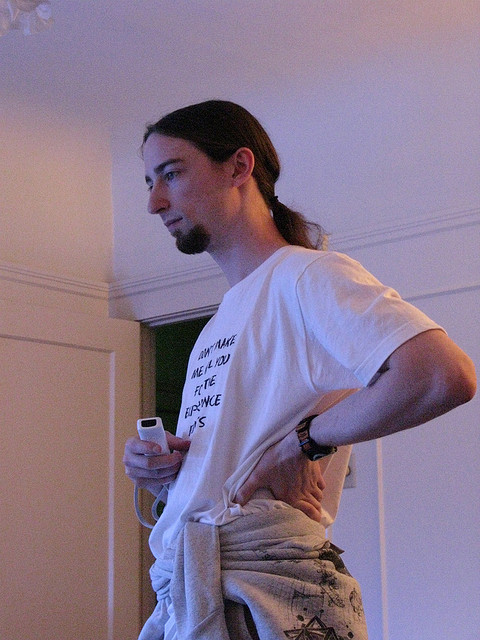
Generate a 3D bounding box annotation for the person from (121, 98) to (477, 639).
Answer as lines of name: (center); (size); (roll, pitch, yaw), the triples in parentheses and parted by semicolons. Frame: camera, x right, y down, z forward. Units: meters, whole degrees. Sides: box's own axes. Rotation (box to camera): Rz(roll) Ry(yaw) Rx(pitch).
person: (0.044, 0.042, 1.275); (0.438, 0.929, 0.590); (0, 1, -11)
